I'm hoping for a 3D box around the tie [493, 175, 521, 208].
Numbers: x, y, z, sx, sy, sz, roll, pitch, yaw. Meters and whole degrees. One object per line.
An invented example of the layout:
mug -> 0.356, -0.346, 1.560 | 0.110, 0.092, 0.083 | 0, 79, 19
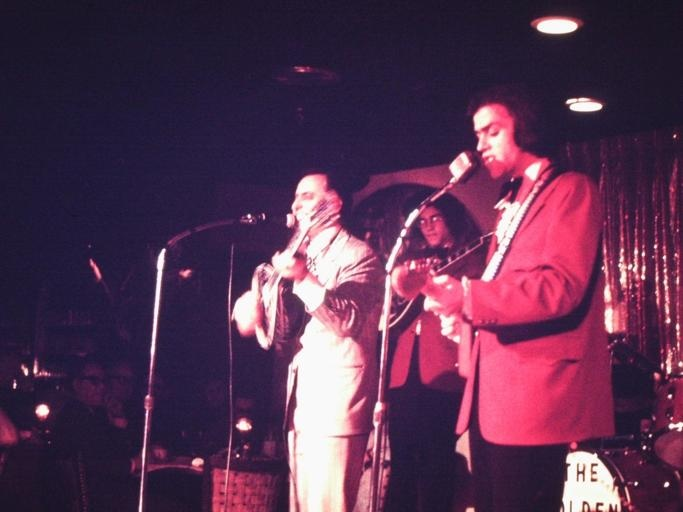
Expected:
tie -> 0.777, -0.303, 3.326 | 0.033, 0.083, 0.142 | 11, -50, -18
